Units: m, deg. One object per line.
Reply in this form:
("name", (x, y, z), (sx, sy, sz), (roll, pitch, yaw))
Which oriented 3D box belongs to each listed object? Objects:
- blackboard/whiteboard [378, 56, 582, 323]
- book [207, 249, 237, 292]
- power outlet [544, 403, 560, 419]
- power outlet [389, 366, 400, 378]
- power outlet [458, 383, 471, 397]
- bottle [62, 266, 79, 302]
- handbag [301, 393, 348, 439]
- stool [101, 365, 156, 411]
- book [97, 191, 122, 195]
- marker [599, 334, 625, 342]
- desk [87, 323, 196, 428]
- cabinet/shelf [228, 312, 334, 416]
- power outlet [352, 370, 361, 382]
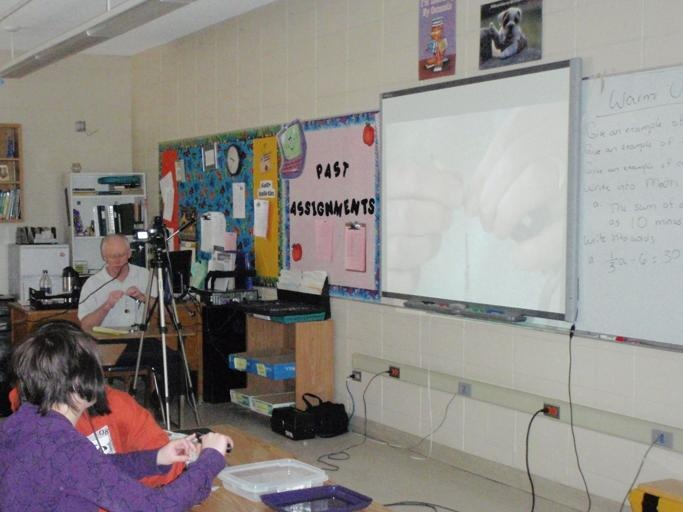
("blackboard/whiteboard", (0.996, -0.474, 4.144), (0.071, 1.764, 2.027), (0, 0, -37))
("book", (-1.186, 0.144, 6.105), (0.290, 0.408, 0.120), (-3, -12, 36))
("power outlet", (1.343, 0.987, 3.817), (0.069, 0.094, 0.128), (-1, 2, -28))
("power outlet", (0.423, 0.923, 4.780), (0.028, 0.082, 0.079), (-1, 7, -42))
("power outlet", (0.885, 0.953, 4.300), (0.055, 0.104, 0.108), (2, -3, -34))
("bottle", (-2.705, 0.281, 5.999), (0.170, 0.367, 0.168), (2, 4, 0))
("handbag", (-0.125, 1.317, 5.135), (0.325, 0.367, 0.367), (-2, 0, -37))
("stool", (-1.742, 0.985, 4.772), (0.248, 0.170, 0.344), (8, 26, -17))
("book", (-2.865, -0.788, 7.431), (0.278, 0.048, 0.050), (-1, 4, -22))
("marker", (1.601, 0.485, 3.549), (0.007, 0.040, 0.152), (-3, 5, -43))
("desk", (-1.421, 0.823, 4.590), (0.783, 0.760, 0.797), (1, -1, -36))
("cabinet/shelf", (-0.579, 1.030, 5.531), (0.556, 0.986, 0.999), (1, -3, -32))
("power outlet", (0.131, 1.021, 5.125), (0.053, 0.097, 0.101), (2, -5, -33))
